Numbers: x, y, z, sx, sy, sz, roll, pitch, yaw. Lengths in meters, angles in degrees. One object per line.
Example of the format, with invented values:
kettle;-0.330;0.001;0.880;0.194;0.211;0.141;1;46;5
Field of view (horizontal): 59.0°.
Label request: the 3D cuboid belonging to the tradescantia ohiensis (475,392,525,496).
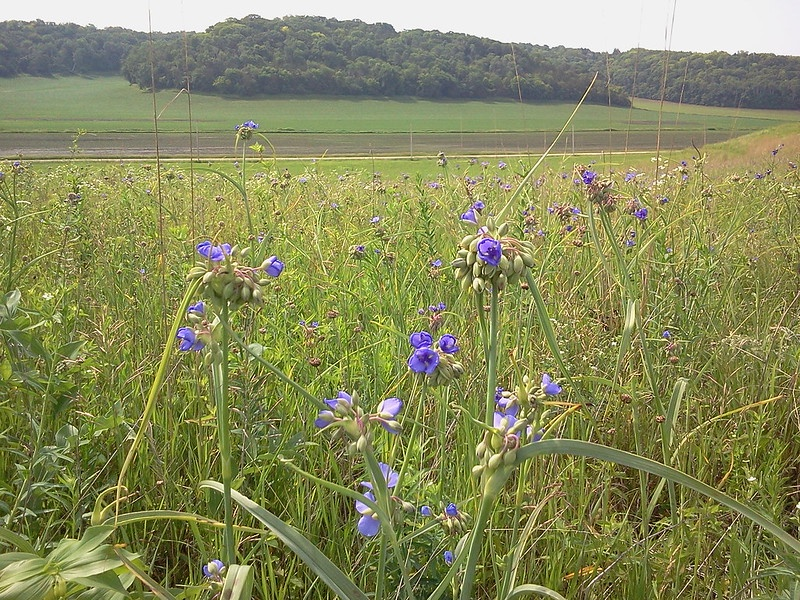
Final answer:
tradescantia ohiensis;0.401;0.577;2.792;0.178;0.387;0.420;6;11;13
